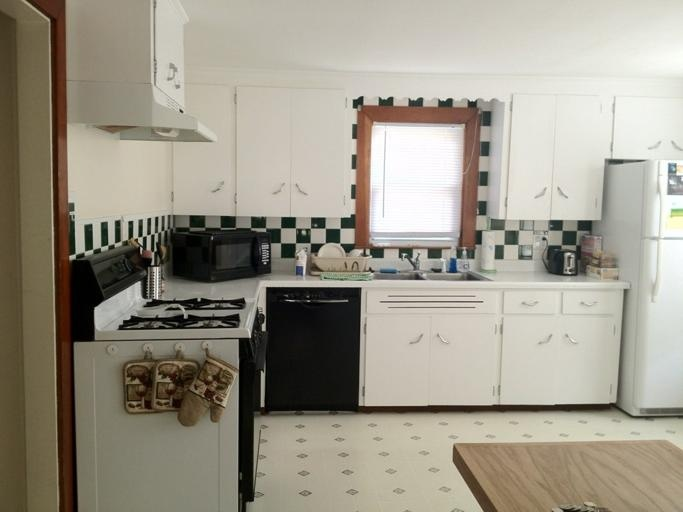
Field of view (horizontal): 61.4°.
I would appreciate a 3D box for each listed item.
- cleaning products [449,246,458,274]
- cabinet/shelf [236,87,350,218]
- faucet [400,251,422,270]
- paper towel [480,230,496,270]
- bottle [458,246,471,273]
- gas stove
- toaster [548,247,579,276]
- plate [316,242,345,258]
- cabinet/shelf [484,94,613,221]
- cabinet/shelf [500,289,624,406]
[{"bbox_3d":[0.984,0.033,5.051,0.082,0.205,0.132,2,7,11],"label":"cleaning products"},{"bbox_3d":[-0.413,-0.855,4.572,0.929,1.120,0.511,0,1,-6],"label":"cabinet/shelf"},{"bbox_3d":[0.605,0.046,5.003,0.191,0.158,0.154,1,6,3],"label":"faucet"},{"bbox_3d":[1.286,-0.043,5.041,0.132,0.346,0.137,2,7,15],"label":"paper towel"},{"bbox_3d":[1.078,0.033,5.043,0.119,0.204,0.189,2,7,15],"label":"bottle"},{"bbox_3d":[-0.857,0.415,3.058,0.488,0.225,0.554,0,2,-6],"label":"gas stove"},{"bbox_3d":[1.888,0.060,4.946,0.256,0.238,0.188,-1,-2,43],"label":"toaster"},{"bbox_3d":[-0.079,-0.050,4.895,0.239,0.103,0.212,0,6,-1],"label":"plate"},{"bbox_3d":[1.746,-0.810,4.716,0.923,1.150,0.537,1,2,1],"label":"cabinet/shelf"},{"bbox_3d":[1.693,0.687,4.523,0.854,0.856,0.449,0,-1,0],"label":"cabinet/shelf"}]
